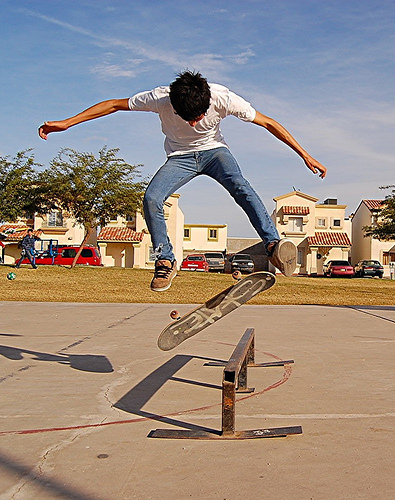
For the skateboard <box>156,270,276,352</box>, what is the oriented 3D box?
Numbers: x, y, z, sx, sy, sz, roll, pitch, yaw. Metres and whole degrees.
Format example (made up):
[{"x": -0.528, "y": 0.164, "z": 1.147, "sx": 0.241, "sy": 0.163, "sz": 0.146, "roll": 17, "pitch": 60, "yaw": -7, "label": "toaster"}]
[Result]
[{"x": 0.269, "y": 0.862, "z": 7.071, "sx": 1.673, "sy": 0.375, "sz": 0.226, "roll": -29, "pitch": 39, "yaw": -10, "label": "skateboard"}]

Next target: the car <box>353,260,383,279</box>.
[{"x": 14.031, "y": 1.513, "z": 40.979, "sx": 1.536, "sy": 1.379, "sz": 2.564, "roll": -1, "pitch": 1, "yaw": 0, "label": "car"}]

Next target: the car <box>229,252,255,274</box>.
[{"x": 3.222, "y": 0.848, "z": 35.918, "sx": 1.513, "sy": 1.004, "sz": 3.085, "roll": 1, "pitch": -2, "yaw": -1, "label": "car"}]

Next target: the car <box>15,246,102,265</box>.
[{"x": -9.873, "y": 0.638, "z": 37.498, "sx": 4.785, "sy": 1.716, "sz": 2.129, "roll": 2, "pitch": -4, "yaw": -1, "label": "car"}]

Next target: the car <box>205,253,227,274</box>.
[{"x": 1.386, "y": 1.039, "z": 40.117, "sx": 1.966, "sy": 1.271, "sz": 3.264, "roll": 1, "pitch": 3, "yaw": 5, "label": "car"}]
